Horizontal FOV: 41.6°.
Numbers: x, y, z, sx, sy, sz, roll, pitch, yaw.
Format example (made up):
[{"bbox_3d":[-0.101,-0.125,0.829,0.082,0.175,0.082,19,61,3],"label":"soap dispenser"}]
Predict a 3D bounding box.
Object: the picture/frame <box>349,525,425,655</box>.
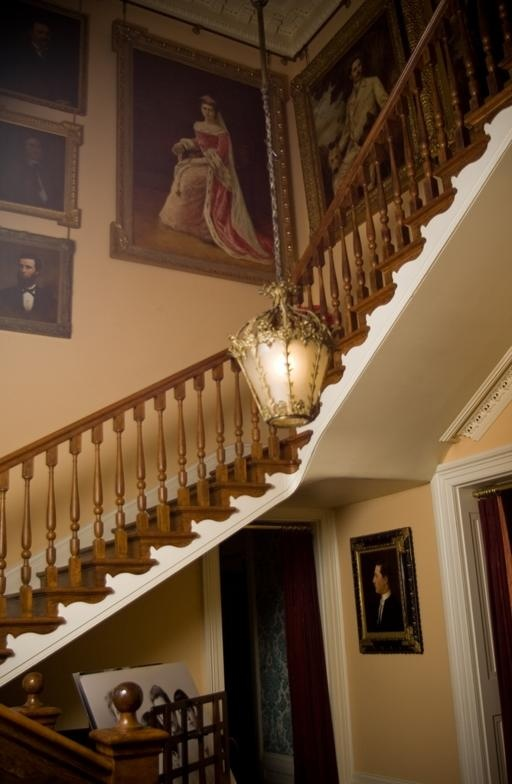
[{"bbox_3d":[1.063,1.578,5.370,0.096,1.014,0.856,7,-22,-31],"label":"picture/frame"}]
